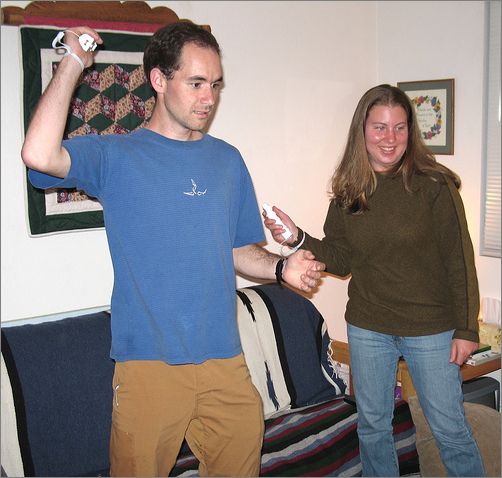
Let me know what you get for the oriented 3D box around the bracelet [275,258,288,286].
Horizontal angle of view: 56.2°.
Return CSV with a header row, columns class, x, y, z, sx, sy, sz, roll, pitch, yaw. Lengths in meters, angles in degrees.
class,x,y,z,sx,sy,sz,roll,pitch,yaw
bracelet,0.099,0.127,1.663,0.025,0.072,0.061,4,8,18
